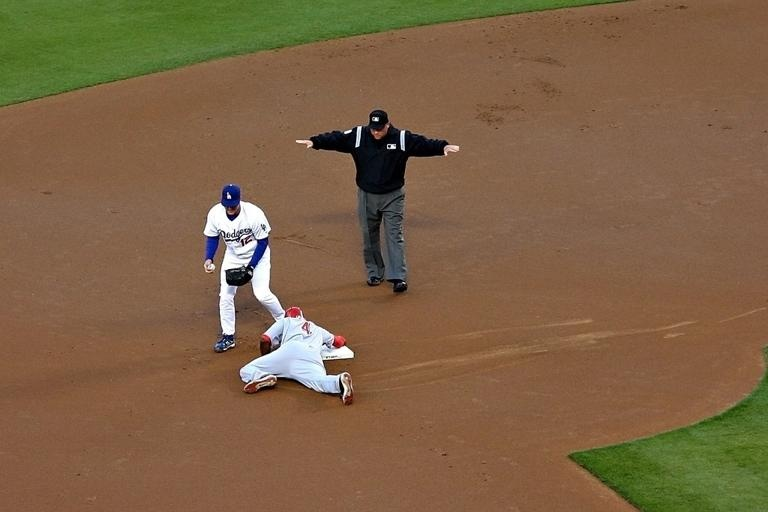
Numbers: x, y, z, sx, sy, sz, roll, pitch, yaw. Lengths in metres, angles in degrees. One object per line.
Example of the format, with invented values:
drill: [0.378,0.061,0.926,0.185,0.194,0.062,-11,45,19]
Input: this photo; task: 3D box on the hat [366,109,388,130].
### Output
hat: [-0.094,-2.202,21.477,0.415,0.281,0.492,6,34,3]

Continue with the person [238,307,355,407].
person: [-1.363,1.541,20.332,1.725,1.098,1.166,-1,30,-1]

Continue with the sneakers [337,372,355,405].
sneakers: [-0.595,1.998,20.117,0.205,0.461,0.220,-10,1,-28]

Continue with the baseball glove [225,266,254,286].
baseball glove: [-2.273,0.315,20.708,0.407,0.149,0.269,-4,39,1]

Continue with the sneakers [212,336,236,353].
sneakers: [-2.539,1.396,21.050,0.397,0.256,0.180,-14,76,-16]

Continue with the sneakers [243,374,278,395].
sneakers: [-1.886,1.926,20.322,0.630,0.194,0.226,-12,14,-8]

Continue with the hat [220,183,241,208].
hat: [-2.403,-0.968,20.649,0.335,0.236,0.408,3,56,-1]
